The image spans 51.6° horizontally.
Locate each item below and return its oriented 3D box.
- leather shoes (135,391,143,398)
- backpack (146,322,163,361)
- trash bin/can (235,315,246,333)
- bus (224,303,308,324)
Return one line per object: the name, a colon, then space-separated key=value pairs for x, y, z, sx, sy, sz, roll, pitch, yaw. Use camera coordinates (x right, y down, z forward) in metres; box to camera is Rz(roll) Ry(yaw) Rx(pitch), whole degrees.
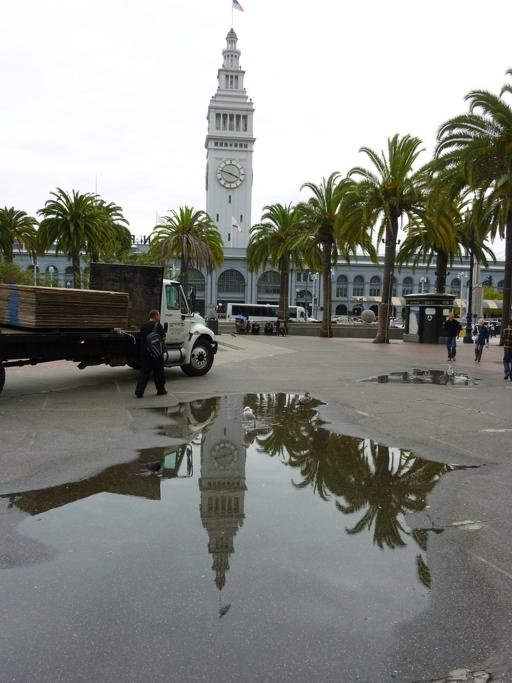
leather shoes: x=-2.366 y=1.075 z=10.705 sx=0.147 sy=0.134 sz=0.225 roll=1 pitch=2 yaw=-13
backpack: x=-2.034 y=0.000 z=10.652 sx=0.353 sy=0.733 sz=0.271 roll=0 pitch=1 yaw=-15
trash bin/can: x=-1.166 y=-1.591 z=47.445 sx=1.126 sy=1.988 sz=1.369 roll=-1 pitch=6 yaw=-13
bus: x=1.309 y=-3.175 z=59.419 sx=9.184 sy=2.042 sz=5.251 roll=1 pitch=2 yaw=-10
